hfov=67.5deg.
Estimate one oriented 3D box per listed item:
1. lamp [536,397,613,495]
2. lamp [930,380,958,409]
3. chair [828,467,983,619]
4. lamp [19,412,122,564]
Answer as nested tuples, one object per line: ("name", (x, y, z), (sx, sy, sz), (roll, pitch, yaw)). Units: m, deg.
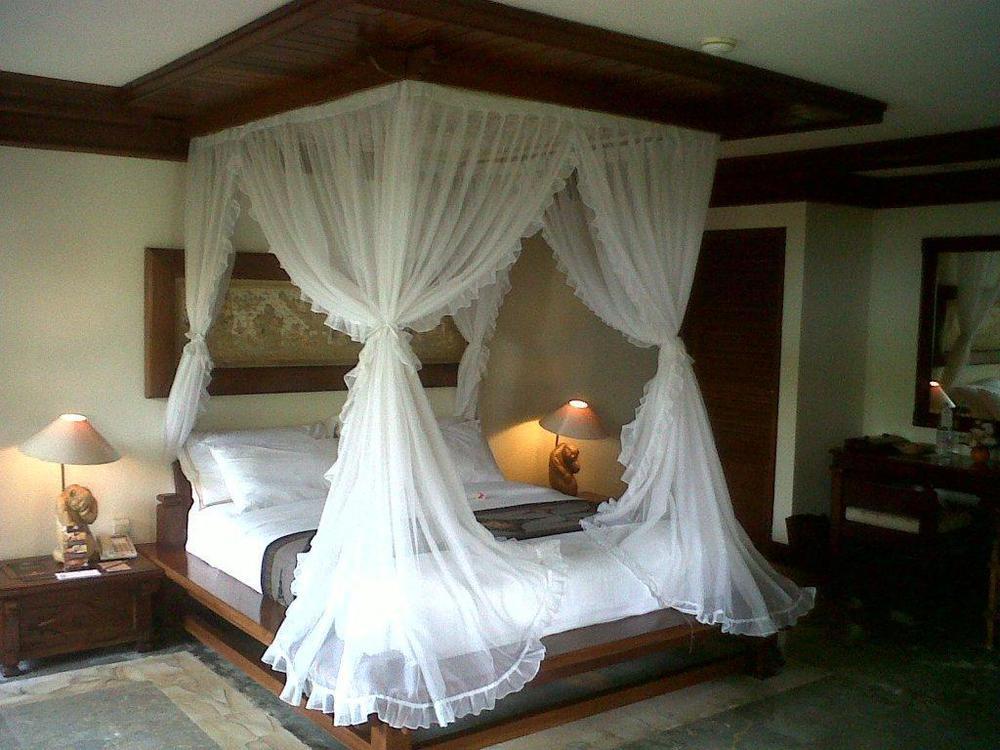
("lamp", (0.514, 0.616, 5.994), (0.541, 0.785, 0.535), (11, 3, 36))
("lamp", (3.269, 0.154, 5.544), (0.076, 0.253, 0.076), (-35, 2, 26))
("chair", (2.846, 1.139, 5.310), (0.878, 0.787, 0.875), (1, 2, -38))
("lamp", (-2.476, 0.677, 4.341), (0.528, 0.843, 0.535), (3, 3, 39))
